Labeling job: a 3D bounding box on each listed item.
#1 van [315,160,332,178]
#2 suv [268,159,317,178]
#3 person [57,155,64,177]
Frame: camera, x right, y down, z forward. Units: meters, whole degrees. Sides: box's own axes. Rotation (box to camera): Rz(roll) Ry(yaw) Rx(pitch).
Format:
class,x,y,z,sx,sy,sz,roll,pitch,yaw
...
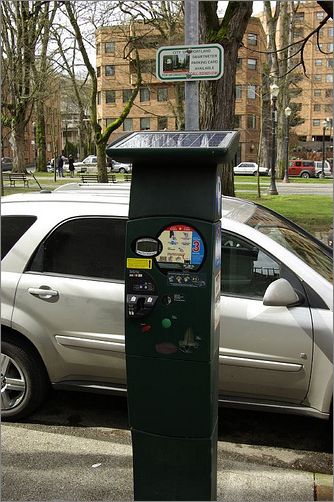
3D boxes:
class,x,y,z,sx,sy,sz,roll,pitch,yaw
van,13.957,-7.335,46.679,2.609,1.607,1.612,4,9,15
suv,11.192,-6.963,44.184,2.430,1.259,1.449,4,8,9
person,-7.401,-5.881,36.256,0.360,1.555,1.751,0,1,-14
